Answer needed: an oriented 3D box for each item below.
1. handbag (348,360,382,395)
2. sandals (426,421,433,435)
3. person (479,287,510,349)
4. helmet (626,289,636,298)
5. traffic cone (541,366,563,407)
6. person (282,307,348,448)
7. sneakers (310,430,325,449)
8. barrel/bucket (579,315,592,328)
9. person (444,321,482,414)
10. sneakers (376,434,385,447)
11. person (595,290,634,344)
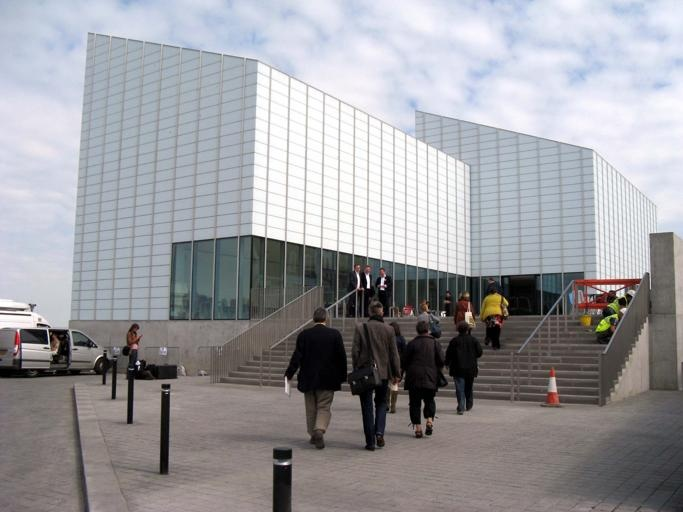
[{"bbox_3d":[0.389,1.951,10.101,0.528,0.531,0.281,-19,-17,41],"label":"handbag"},{"bbox_3d":[1.606,3.124,11.245,0.137,0.279,0.232,0,-5,6],"label":"sandals"},{"bbox_3d":[4.524,1.768,18.241,0.729,1.838,1.049,-1,-5,13],"label":"person"},{"bbox_3d":[9.432,1.227,20.118,0.207,0.111,0.308,4,2,11],"label":"helmet"},{"bbox_3d":[5.218,3.240,15.234,0.704,0.864,0.731,-2,-4,43],"label":"traffic cone"},{"bbox_3d":[-0.398,2.006,10.271,0.967,2.294,0.667,1,-5,-8],"label":"person"},{"bbox_3d":[-0.377,3.042,9.992,0.140,0.442,0.186,-6,36,-4],"label":"sneakers"},{"bbox_3d":[7.981,2.143,20.118,0.317,0.280,0.337,1,-14,0],"label":"barrel/bucket"},{"bbox_3d":[2.708,2.490,13.647,0.748,2.033,1.363,-1,-5,15],"label":"person"},{"bbox_3d":[0.658,3.060,10.160,0.127,0.206,0.081,2,-5,-21],"label":"sneakers"},{"bbox_3d":[8.220,1.879,18.562,0.358,1.221,0.807,24,7,-21],"label":"person"}]
